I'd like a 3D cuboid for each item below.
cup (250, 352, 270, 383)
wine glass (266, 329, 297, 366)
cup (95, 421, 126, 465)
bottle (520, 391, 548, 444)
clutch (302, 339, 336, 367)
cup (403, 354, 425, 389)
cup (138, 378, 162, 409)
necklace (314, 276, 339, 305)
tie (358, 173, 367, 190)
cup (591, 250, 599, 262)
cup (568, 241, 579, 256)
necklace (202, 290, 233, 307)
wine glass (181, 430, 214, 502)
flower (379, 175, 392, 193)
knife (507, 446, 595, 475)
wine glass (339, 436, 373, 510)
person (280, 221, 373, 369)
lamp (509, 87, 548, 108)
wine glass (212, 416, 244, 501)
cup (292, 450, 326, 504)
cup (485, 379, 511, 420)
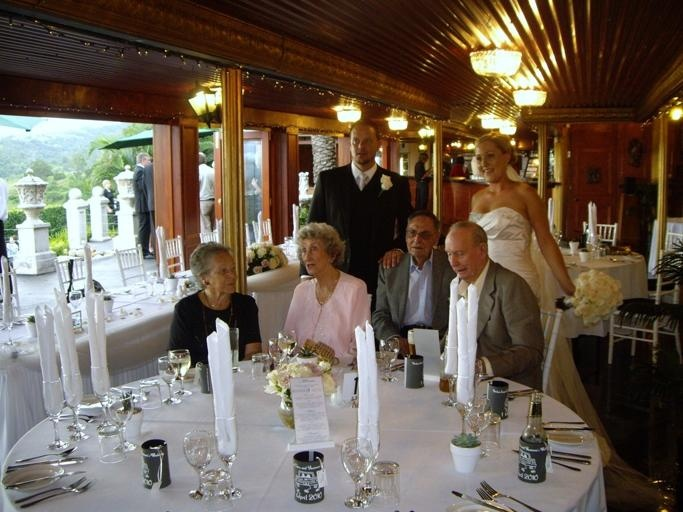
[{"bbox_3d":[-0.484,0.659,3.172,0.132,0.170,0.146,0,-2,-1],"label":"cup"},{"bbox_3d":[-0.370,0.528,3.159,0.182,0.295,0.168,2,-1,-27],"label":"wine glass"},{"bbox_3d":[-0.997,0.806,2.297,0.090,0.168,0.162,0,-3,-5],"label":"cup"},{"bbox_3d":[0.785,0.629,2.151,0.096,0.199,0.226,3,10,22],"label":"bottle"},{"bbox_3d":[-0.140,0.549,3.217,0.191,0.077,0.157,28,-2,9],"label":"clutch"},{"bbox_3d":[0.406,0.643,3.058,0.137,0.179,0.145,-1,7,0],"label":"cup"},{"bbox_3d":[-1.026,0.730,2.861,0.105,0.174,0.168,-3,-3,2],"label":"cup"},{"bbox_3d":[-0.114,0.254,3.893,0.135,0.213,0.106,-7,-34,26],"label":"necklace"},{"bbox_3d":[0.188,-0.683,4.777,0.091,0.109,0.029,2,19,-6],"label":"tie"},{"bbox_3d":[3.511,-0.021,7.344,0.120,0.157,0.126,1,3,0],"label":"cup"},{"bbox_3d":[3.423,-0.116,7.897,0.176,0.227,0.197,1,1,-7],"label":"cup"},{"bbox_3d":[-0.886,0.305,3.758,0.174,0.154,0.133,7,3,7],"label":"necklace"},{"bbox_3d":[-0.557,0.772,2.033,0.105,0.279,0.209,-6,10,-29],"label":"wine glass"},{"bbox_3d":[0.399,-0.659,4.822,0.111,0.129,0.043,1,4,-8],"label":"flower"},{"bbox_3d":[0.904,0.836,2.228,0.271,0.017,0.086,11,45,18],"label":"knife"},{"bbox_3d":[0.058,0.775,2.015,0.110,0.272,0.206,-1,9,2],"label":"wine glass"},{"bbox_3d":[-0.077,0.264,3.817,0.690,1.106,0.553,-8,-16,28],"label":"person"},{"bbox_3d":[3.097,-2.646,8.826,0.464,0.243,0.488,7,12,32],"label":"lamp"},{"bbox_3d":[-0.442,0.733,2.057,0.086,0.333,0.205,-3,9,-14],"label":"wine glass"},{"bbox_3d":[-0.117,0.840,2.070,0.140,0.184,0.152,0,3,0],"label":"cup"},{"bbox_3d":[0.765,0.693,2.640,0.146,0.237,0.149,1,-1,0],"label":"cup"}]
